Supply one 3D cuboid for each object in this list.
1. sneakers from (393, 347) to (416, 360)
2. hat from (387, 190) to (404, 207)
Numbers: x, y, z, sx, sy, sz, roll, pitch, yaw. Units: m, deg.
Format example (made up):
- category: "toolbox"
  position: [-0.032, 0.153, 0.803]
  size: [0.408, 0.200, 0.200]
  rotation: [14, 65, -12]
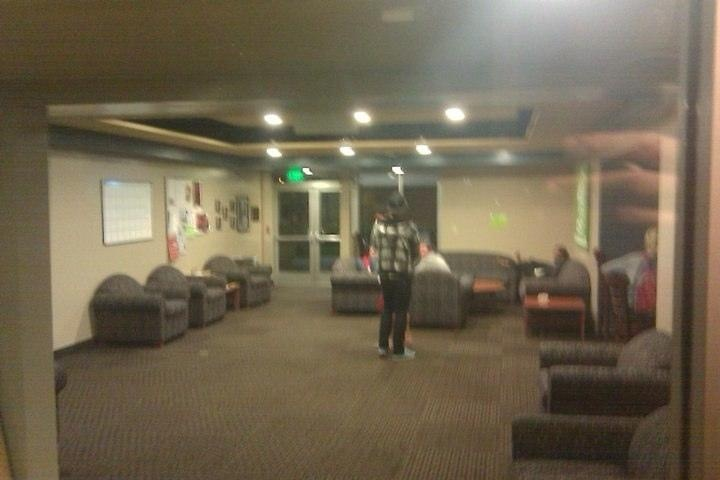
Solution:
- category: "sneakers"
  position: [0.229, 0.571, 2.968]
  size: [0.122, 0.055, 0.051]
  rotation: [-1, -3, -16]
- category: "hat"
  position: [0.165, -0.190, 2.745]
  size: [0.079, 0.067, 0.093]
  rotation: [-2, 2, 2]
